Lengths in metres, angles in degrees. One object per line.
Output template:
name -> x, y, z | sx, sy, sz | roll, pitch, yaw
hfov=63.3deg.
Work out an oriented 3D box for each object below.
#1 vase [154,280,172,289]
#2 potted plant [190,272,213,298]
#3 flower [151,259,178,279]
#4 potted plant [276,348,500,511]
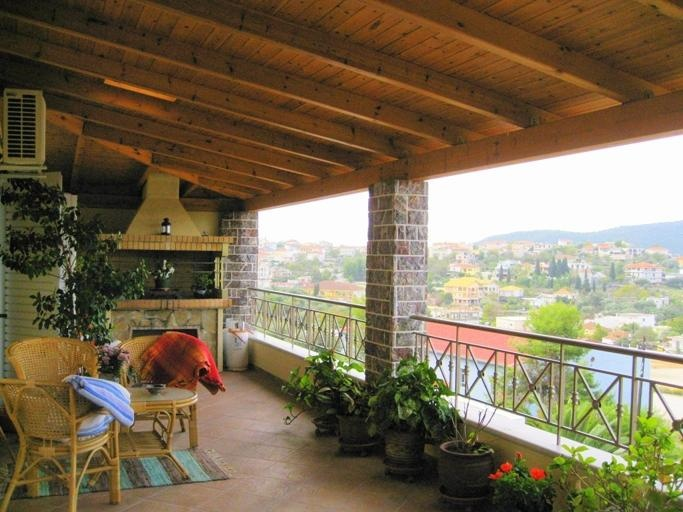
vase -> -2.876, 0.445, 8.924 | 0.186, 0.106, 0.181 | 5, -6, -39
potted plant -> -2.212, 0.473, 8.940 | 0.399, 0.458, 0.366 | 2, -13, -1
flower -> -2.995, 0.229, 9.327 | 0.319, 0.262, 0.281 | -4, 15, 39
potted plant -> 0.355, 1.447, 5.075 | 0.873, 0.877, 2.123 | -2, 3, -36
